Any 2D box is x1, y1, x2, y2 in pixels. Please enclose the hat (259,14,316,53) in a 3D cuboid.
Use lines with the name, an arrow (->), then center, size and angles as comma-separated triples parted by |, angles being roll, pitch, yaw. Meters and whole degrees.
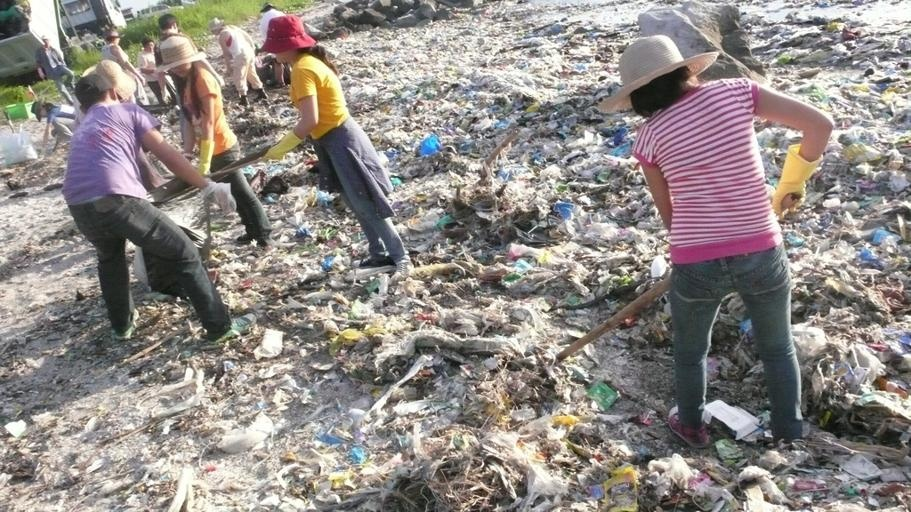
hat -> -1.875, -2.506, 7.809 | 0.721, 0.283, 0.546 | -3, 34, 3

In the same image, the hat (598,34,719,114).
hat -> 1.679, -1.532, 6.375 | 0.790, 0.337, 0.882 | -25, -6, -46

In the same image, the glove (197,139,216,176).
glove -> -3.005, -1.199, 8.421 | 0.154, 0.405, 0.125 | 9, 2, -12

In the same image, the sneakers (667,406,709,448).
sneakers -> 2.242, 1.633, 6.850 | 0.282, 0.226, 0.611 | -14, 14, -5

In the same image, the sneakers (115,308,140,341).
sneakers -> -3.767, 0.780, 8.086 | 0.162, 0.379, 0.191 | 5, -10, 8

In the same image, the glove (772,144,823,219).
glove -> 3.235, -0.737, 6.609 | 0.448, 0.372, 0.878 | 17, 42, 31

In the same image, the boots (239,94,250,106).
boots -> -3.954, -2.984, 13.430 | 0.288, 0.164, 0.277 | -2, 2, -4

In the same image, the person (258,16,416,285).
person -> -1.322, -1.245, 8.044 | 1.287, 2.960, 0.746 | 1, 29, 22
